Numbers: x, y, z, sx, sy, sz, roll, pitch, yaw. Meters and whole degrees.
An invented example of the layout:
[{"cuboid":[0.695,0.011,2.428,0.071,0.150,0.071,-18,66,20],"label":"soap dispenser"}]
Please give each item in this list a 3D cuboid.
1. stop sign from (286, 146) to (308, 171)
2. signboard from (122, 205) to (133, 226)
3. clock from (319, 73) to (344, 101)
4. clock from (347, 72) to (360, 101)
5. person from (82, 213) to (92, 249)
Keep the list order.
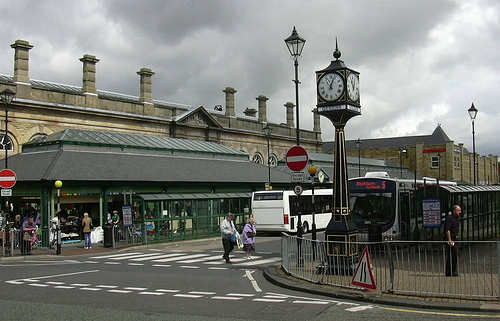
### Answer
[{"cuboid":[2.212,-0.076,32.083,1.060,1.114,0.712,0,4,19],"label":"stop sign"},{"cuboid":[-7.886,3.553,45.033,0.548,1.323,1.408,0,4,16],"label":"signboard"},{"cuboid":[3.742,-3.328,31.174,1.117,1.208,0.120,-5,-7,27],"label":"clock"},{"cuboid":[4.716,-3.394,31.400,0.196,1.262,0.979,1,5,32],"label":"clock"},{"cuboid":[-10.204,4.434,43.267,0.521,2.346,1.169,-2,4,-14],"label":"person"}]
